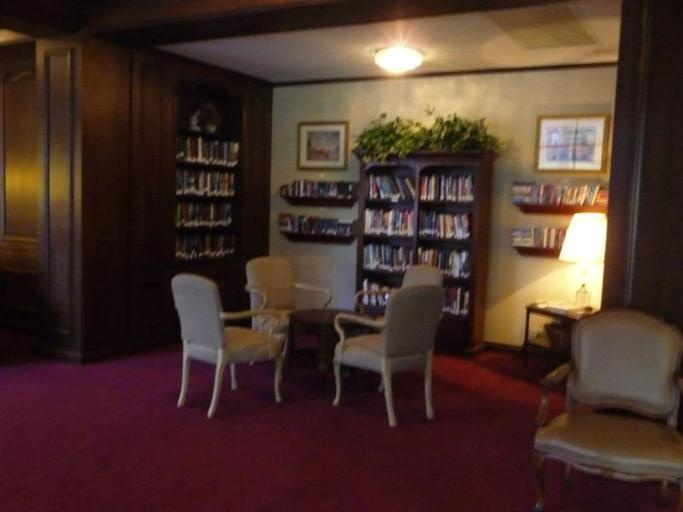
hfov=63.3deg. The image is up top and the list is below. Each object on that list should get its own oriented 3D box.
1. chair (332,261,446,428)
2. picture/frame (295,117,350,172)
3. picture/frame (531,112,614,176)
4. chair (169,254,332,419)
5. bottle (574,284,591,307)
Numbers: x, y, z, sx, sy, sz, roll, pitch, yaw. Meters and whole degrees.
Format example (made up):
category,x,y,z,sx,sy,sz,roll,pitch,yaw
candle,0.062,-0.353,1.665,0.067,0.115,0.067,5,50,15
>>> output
category,x,y,z,sx,sy,sz,roll,pitch,yaw
chair,0.400,0.718,4.914,1.018,1.565,1.071,-1,3,-39
picture/frame,-0.226,-1.481,7.338,0.691,0.637,0.062,2,7,18
picture/frame,2.585,-1.248,6.127,0.964,0.866,0.097,3,10,21
chair,-0.967,0.557,4.998,1.096,1.467,1.139,5,7,39
bottle,2.642,0.438,6.065,0.196,0.362,0.204,-2,10,0
